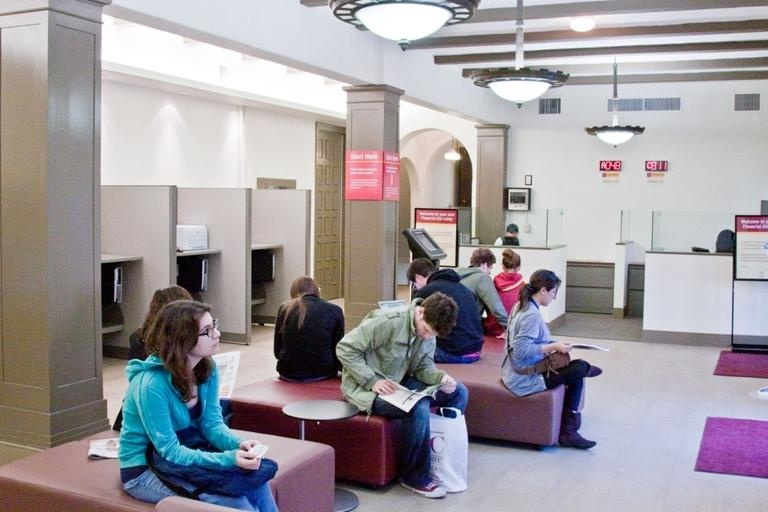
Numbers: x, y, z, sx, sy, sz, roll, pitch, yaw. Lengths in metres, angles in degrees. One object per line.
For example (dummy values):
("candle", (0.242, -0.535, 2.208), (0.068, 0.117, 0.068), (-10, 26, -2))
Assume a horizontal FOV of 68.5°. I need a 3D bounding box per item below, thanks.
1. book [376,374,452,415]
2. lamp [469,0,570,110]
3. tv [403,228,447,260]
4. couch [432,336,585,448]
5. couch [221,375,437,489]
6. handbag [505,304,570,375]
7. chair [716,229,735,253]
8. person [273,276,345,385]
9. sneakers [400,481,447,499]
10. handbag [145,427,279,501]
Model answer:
("book", (0.170, 1.009, 4.029), (0.277, 0.168, 0.362), (7, 9, 44))
("lamp", (1.570, -2.368, 6.283), (0.950, 1.291, 1.171), (5, 8, 32))
("tv", (0.540, -0.170, 7.658), (0.492, 0.653, 0.491), (-4, 22, 7))
("couch", (1.028, 1.159, 4.676), (1.104, 0.374, 0.962), (3, 4, 25))
("couch", (-0.412, 1.289, 4.134), (1.098, 0.461, 0.751), (4, 1, 30))
("handbag", (1.202, 0.702, 4.895), (0.595, 0.615, 0.644), (-2, 1, -9))
("chair", (5.303, -0.245, 8.802), (0.197, 0.334, 0.375), (4, 7, 21))
("person", (-0.622, 0.602, 4.883), (0.625, 0.821, 0.754), (-2, 0, 1))
("sneakers", (0.272, 1.647, 4.036), (0.281, 0.101, 0.101), (0, 1, 25))
("handbag", (-0.875, 0.982, 2.838), (0.492, 0.199, 0.365), (10, 12, 8))
